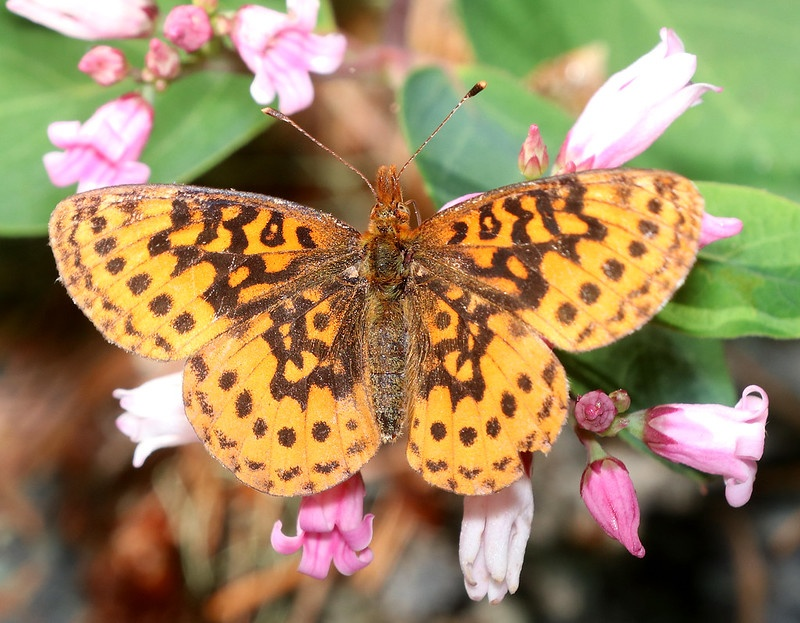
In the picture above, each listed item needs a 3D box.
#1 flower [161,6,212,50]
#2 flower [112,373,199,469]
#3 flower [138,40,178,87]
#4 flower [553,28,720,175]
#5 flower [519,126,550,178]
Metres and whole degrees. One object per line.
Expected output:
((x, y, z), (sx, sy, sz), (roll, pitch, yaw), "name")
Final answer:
((-0.568, -0.761, 2.278), (0.126, 0.088, 0.093), (-29, 80, -3), "flower")
((-0.624, 0.258, 2.196), (0.224, 0.101, 0.255), (-9, 103, 2), "flower")
((-0.643, -0.670, 2.317), (0.125, 0.128, 0.093), (23, 32, 34), "flower")
((0.560, -0.491, 2.166), (0.444, 0.247, 0.247), (-42, 80, 5), "flower")
((0.333, -0.394, 2.120), (0.059, 0.148, 0.069), (4, 47, 9), "flower")
